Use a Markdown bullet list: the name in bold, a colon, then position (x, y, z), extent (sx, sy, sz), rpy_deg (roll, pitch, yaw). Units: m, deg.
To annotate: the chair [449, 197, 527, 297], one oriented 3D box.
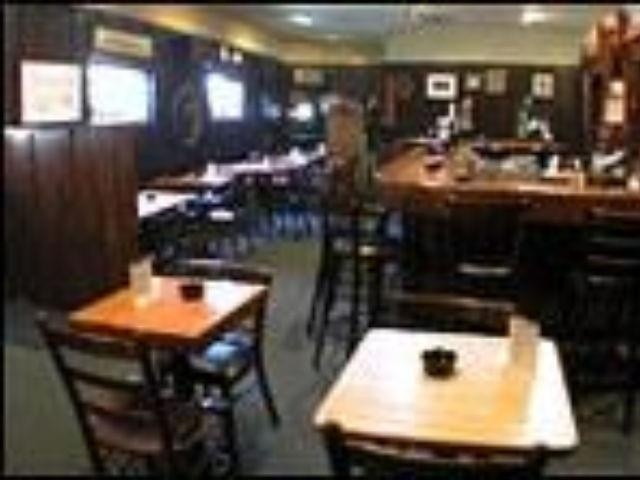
- **chair**: position (0.893, 0.034, 3.797), extent (0.358, 0.414, 0.652), rpy_deg (1, 9, 15)
